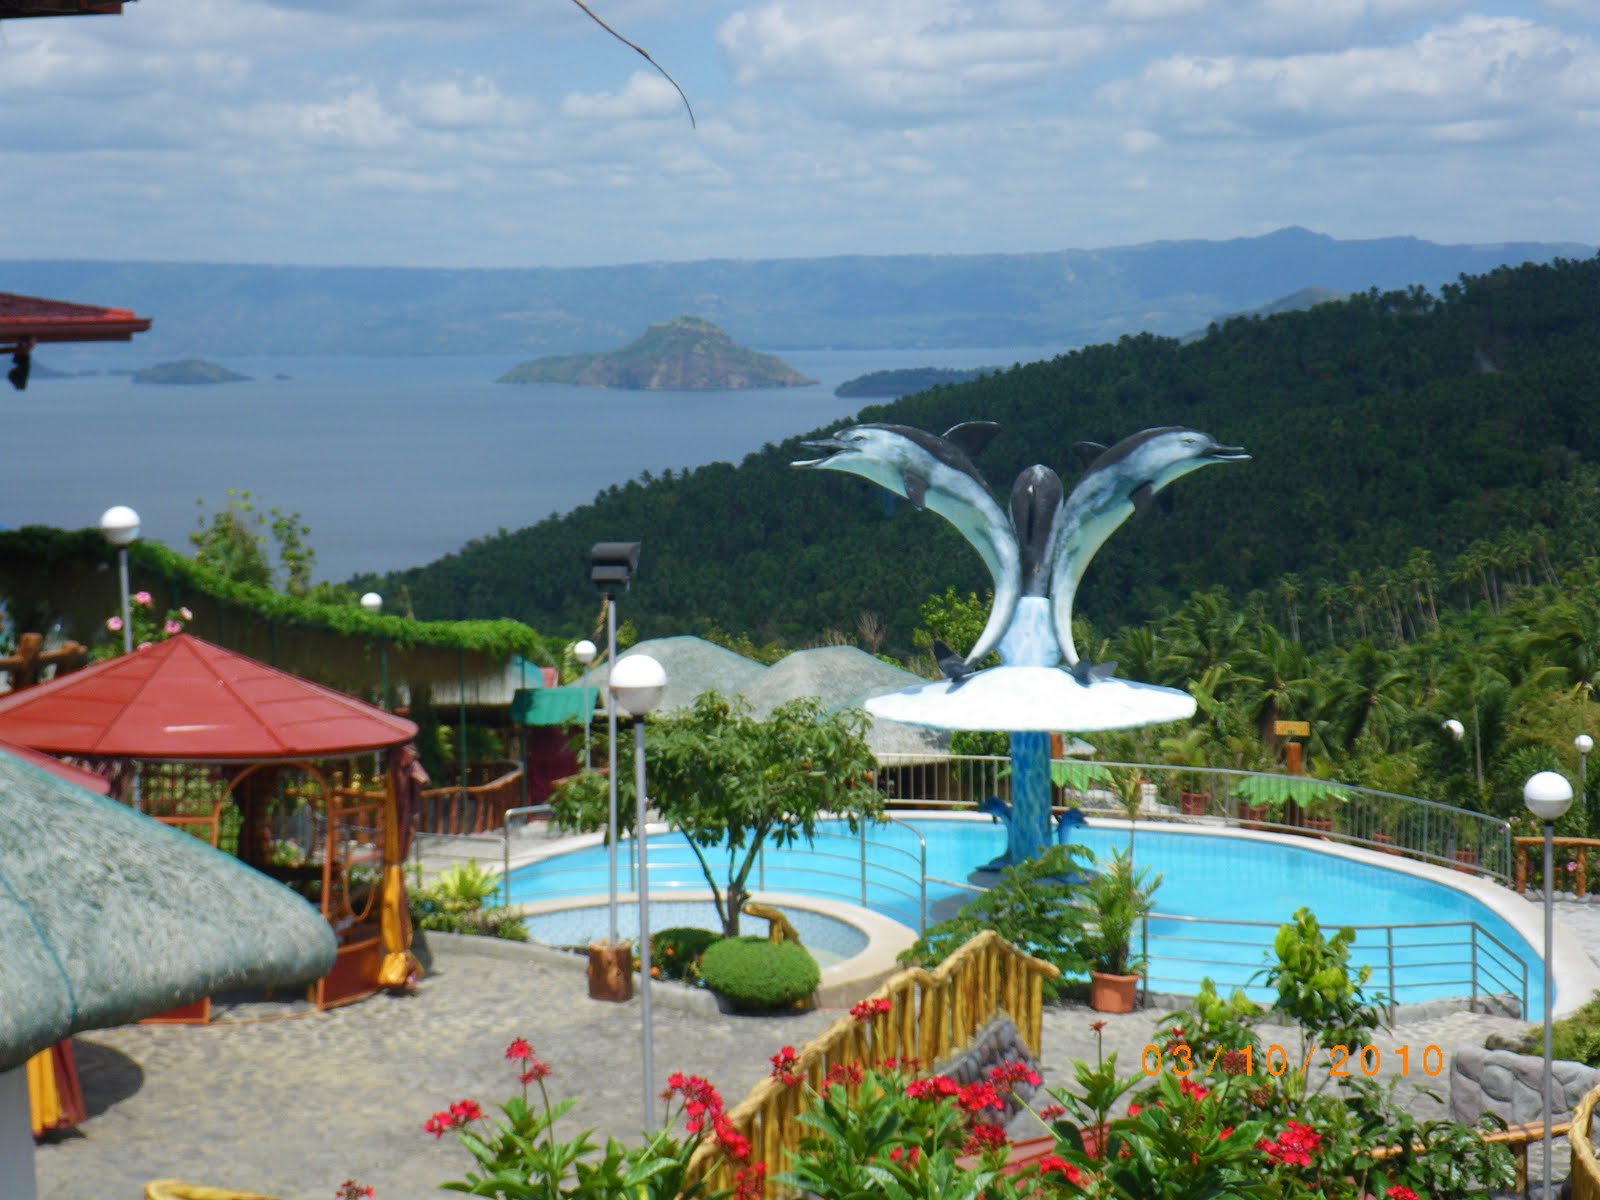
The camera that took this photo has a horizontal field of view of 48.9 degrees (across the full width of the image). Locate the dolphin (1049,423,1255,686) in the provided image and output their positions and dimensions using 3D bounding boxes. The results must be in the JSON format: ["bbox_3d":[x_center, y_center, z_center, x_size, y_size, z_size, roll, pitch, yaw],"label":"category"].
[{"bbox_3d":[5.393,-1.805,29.408,4.959,2.232,1.763,-25,11,45],"label":"dolphin"}]

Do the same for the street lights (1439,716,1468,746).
[{"bbox_3d":[17.231,3.447,46.146,0.911,0.597,1.015,9,-2,-2],"label":"street lights"}]

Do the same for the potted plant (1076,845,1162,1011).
[{"bbox_3d":[4.162,4.349,22.853,0.900,1.923,1.212,3,-12,-11],"label":"potted plant"}]

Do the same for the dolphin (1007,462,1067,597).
[{"bbox_3d":[3.942,-1.257,29.327,0.693,2.421,0.591,1,-4,10],"label":"dolphin"}]

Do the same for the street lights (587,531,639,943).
[{"bbox_3d":[-2.938,2.340,27.157,0.924,7.346,0.837,2,4,27],"label":"street lights"}]
